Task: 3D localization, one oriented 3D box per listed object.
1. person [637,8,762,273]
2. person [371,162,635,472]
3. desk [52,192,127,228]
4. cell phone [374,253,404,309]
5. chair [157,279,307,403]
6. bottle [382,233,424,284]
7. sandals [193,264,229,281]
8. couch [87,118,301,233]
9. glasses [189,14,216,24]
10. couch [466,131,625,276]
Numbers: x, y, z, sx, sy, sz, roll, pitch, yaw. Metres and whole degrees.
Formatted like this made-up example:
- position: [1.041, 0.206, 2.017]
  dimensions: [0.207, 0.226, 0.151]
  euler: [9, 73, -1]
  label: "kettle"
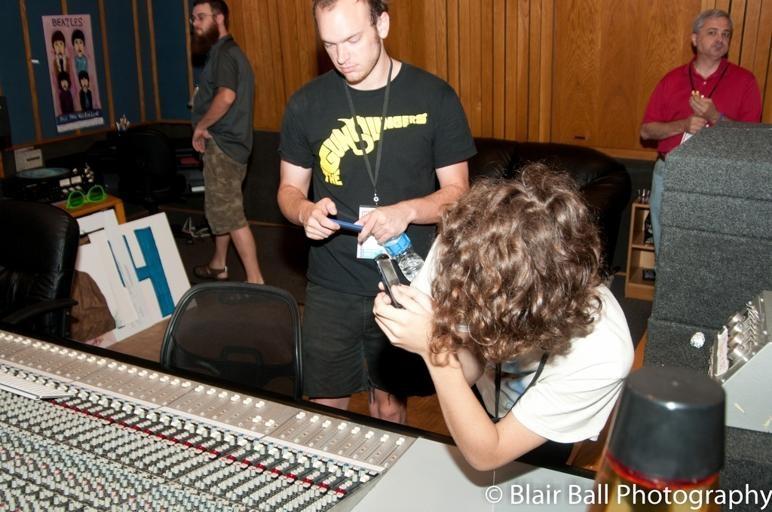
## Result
- position: [2.132, -0.915, 3.868]
  dimensions: [0.702, 1.422, 0.757]
  euler: [8, 23, 24]
  label: "person"
- position: [0.292, 0.177, 1.382]
  dimensions: [0.560, 0.764, 0.401]
  euler: [12, 24, 31]
  label: "person"
- position: [-2.168, -0.401, 4.266]
  dimensions: [0.443, 0.213, 0.435]
  euler: [-28, 17, -31]
  label: "desk"
- position: [0.007, 0.051, 1.422]
  dimensions: [0.047, 0.180, 0.041]
  euler: [-21, -8, 2]
  label: "cell phone"
- position: [-0.575, 0.285, 2.408]
  dimensions: [0.473, 0.717, 0.504]
  euler: [4, 5, 1]
  label: "chair"
- position: [0.056, 0.003, 1.952]
  dimensions: [0.070, 0.053, 0.171]
  euler: [-29, -29, 10]
  label: "bottle"
- position: [-1.514, 0.131, 4.894]
  dimensions: [0.278, 0.132, 0.146]
  euler: [11, 12, 11]
  label: "sandals"
- position: [-1.715, -1.017, 6.378]
  dimensions: [0.774, 0.976, 1.439]
  euler: [-17, 29, -35]
  label: "couch"
- position: [-1.465, -1.882, 4.517]
  dimensions: [0.223, 0.084, 0.062]
  euler: [16, 27, 36]
  label: "glasses"
- position: [1.147, -0.307, 4.212]
  dimensions: [1.164, 0.825, 0.713]
  euler: [0, 11, 7]
  label: "couch"
